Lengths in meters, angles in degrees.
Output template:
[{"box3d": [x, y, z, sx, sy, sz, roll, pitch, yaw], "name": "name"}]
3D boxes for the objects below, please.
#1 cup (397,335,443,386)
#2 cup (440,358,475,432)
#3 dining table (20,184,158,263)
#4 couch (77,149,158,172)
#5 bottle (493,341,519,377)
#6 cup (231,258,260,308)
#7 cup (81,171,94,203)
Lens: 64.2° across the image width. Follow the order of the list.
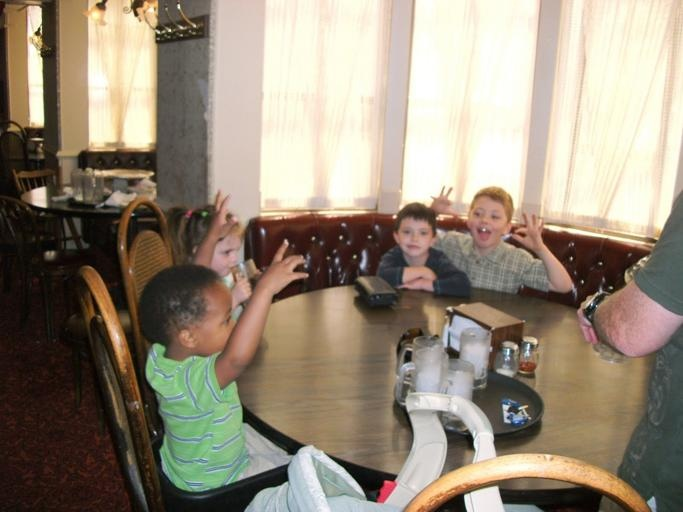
[{"box3d": [0.228, 0.295, 1.532, 0.126, 0.134, 0.228, 7, 14, 10], "name": "cup"}, {"box3d": [0.316, 0.357, 1.472, 0.079, 0.135, 0.232, 8, 14, 15], "name": "cup"}, {"box3d": [-1.715, -0.233, 3.662, 0.473, 0.310, 0.492, 15, 19, -4], "name": "dining table"}, {"box3d": [-2.446, -1.049, 5.965, 0.345, 0.230, 0.920, 11, 15, 23], "name": "couch"}, {"box3d": [0.502, 0.318, 1.665, 0.067, 0.104, 0.068, 0, 15, 0], "name": "bottle"}, {"box3d": [-0.356, 0.106, 2.040, 0.100, 0.180, 0.174, 17, -19, -17], "name": "cup"}, {"box3d": [-1.811, -0.491, 3.878, 0.086, 0.217, 0.147, 2, 14, -13], "name": "cup"}]
